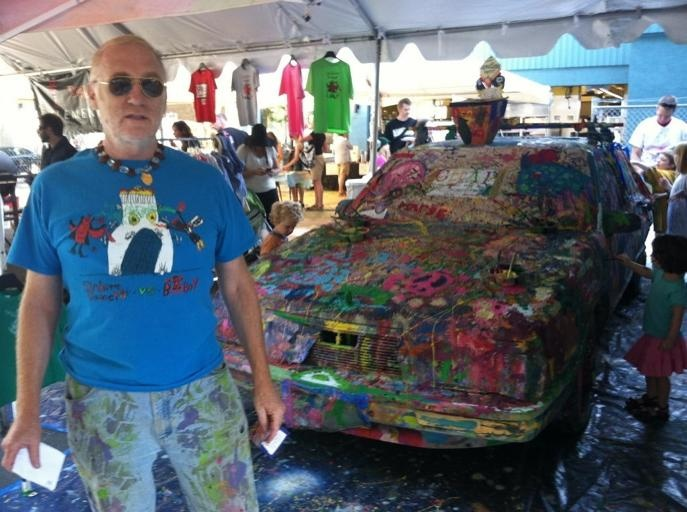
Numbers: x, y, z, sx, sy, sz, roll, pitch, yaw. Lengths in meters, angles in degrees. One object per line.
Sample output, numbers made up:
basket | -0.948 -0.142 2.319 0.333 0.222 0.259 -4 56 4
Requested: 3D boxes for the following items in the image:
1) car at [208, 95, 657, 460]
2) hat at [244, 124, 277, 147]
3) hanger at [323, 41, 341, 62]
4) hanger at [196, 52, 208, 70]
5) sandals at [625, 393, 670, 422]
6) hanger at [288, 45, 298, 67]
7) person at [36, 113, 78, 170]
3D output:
car | 1.033 -0.096 4.095 1.609 1.254 3.573 2 13 30
hat | -1.300 -1.726 8.143 0.445 0.214 0.446 22 35 27
hanger | -0.187 -2.834 7.690 0.297 0.245 0.279 1 11 18
hanger | -2.200 -3.048 8.621 0.188 0.185 0.189 3 26 4
sandals | 2.091 1.063 3.842 0.142 0.102 0.247 -26 8 -29
hanger | -0.723 -2.924 8.091 0.112 0.234 0.139 -3 10 -5
person | -3.399 -1.368 6.585 0.403 0.584 0.779 -5 23 -20
